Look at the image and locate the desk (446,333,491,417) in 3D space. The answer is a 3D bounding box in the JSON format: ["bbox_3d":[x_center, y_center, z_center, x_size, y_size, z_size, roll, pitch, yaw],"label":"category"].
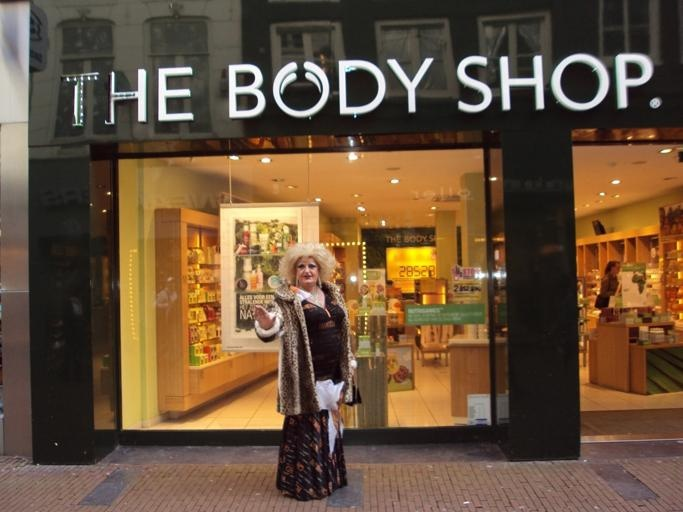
[{"bbox_3d":[1.409,1.325,6.744,0.832,0.893,0.502,1,-5,-1],"label":"desk"}]

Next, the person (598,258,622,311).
[{"bbox_3d":[4.076,0.462,9.376,0.291,0.793,0.612,2,9,19],"label":"person"}]

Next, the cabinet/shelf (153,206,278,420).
[{"bbox_3d":[-1.394,0.586,6.859,0.744,2.721,2.302,-2,-1,9],"label":"cabinet/shelf"}]

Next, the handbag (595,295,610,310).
[{"bbox_3d":[4.041,0.736,9.499,0.199,0.235,0.201,4,-3,-12],"label":"handbag"}]

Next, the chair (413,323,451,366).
[{"bbox_3d":[0.999,0.966,6.774,0.374,0.539,0.423,0,-13,1],"label":"chair"}]

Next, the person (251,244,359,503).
[{"bbox_3d":[-0.270,1.043,5.665,0.737,2.268,0.578,-9,11,-43],"label":"person"}]
